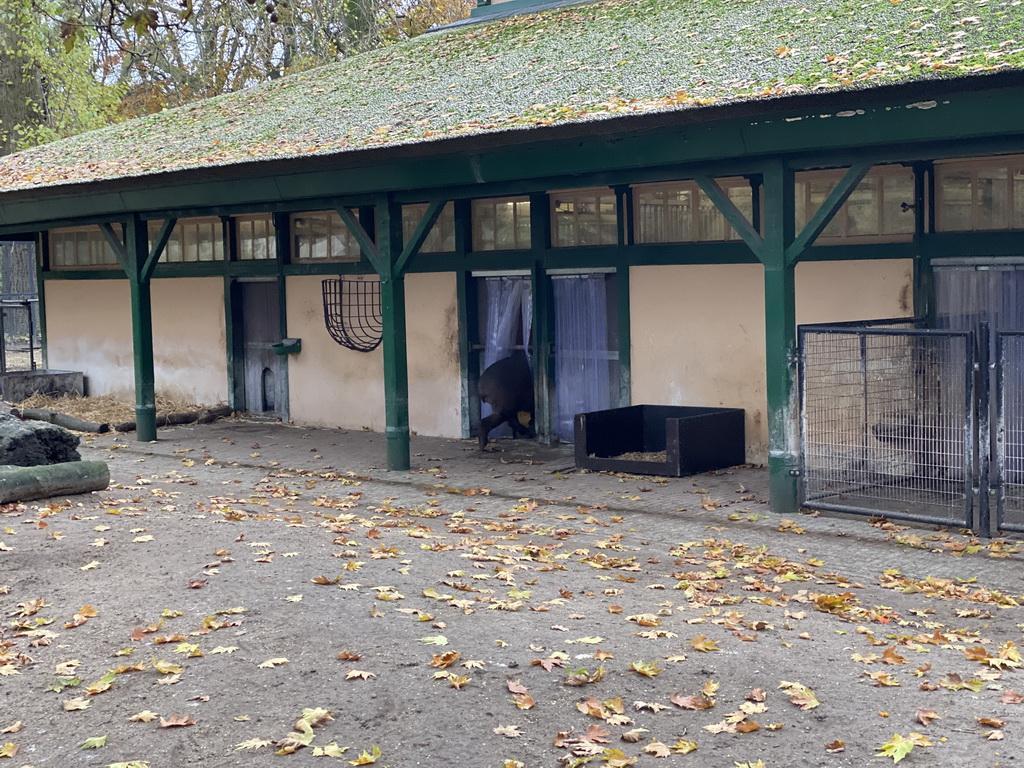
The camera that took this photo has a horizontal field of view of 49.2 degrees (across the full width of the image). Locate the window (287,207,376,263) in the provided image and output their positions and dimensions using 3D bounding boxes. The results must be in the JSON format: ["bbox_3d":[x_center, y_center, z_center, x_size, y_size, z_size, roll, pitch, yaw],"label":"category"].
[{"bbox_3d":[-2.815,-2.224,17.236,0.039,0.797,1.419,12,16,41],"label":"window"}]

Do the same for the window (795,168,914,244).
[{"bbox_3d":[3.718,-1.864,11.943,1.079,0.621,0.054,7,14,38],"label":"window"}]

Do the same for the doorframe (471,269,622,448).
[{"bbox_3d":[0.536,-0.333,14.666,2.233,2.387,0.339,5,11,30],"label":"doorframe"}]

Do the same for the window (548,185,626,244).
[{"bbox_3d":[0.872,-2.119,14.473,1.002,0.720,0.086,-7,0,-38],"label":"window"}]

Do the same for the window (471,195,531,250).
[{"bbox_3d":[-0.079,-2.107,15.134,0.904,0.632,0.071,3,11,27],"label":"window"}]

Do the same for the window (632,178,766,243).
[{"bbox_3d":[2.235,-2.051,13.585,1.665,0.801,0.109,-3,7,-18],"label":"window"}]

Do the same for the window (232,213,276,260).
[{"bbox_3d":[-4.100,-2.347,17.949,0.734,0.516,0.057,4,4,40],"label":"window"}]
